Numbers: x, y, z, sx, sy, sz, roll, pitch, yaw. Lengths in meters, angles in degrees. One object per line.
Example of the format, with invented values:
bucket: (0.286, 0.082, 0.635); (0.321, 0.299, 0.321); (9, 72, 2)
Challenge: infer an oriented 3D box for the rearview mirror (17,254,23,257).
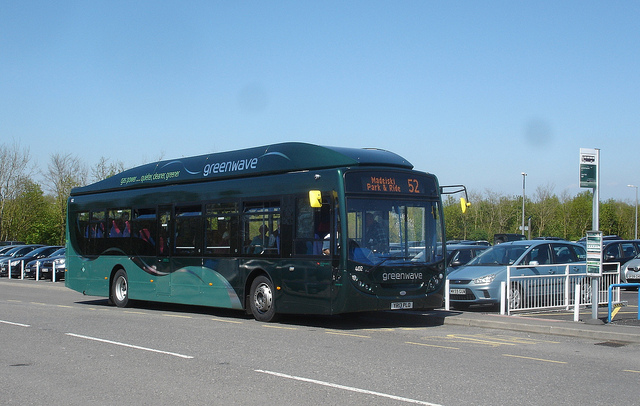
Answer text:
rearview mirror: (-22.566, 3.946, 41.172); (0.245, 0.126, 0.246); (12, 21, 35)

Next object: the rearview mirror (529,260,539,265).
rearview mirror: (6.981, 1.924, 17.880); (0.264, 0.134, 0.466); (-2, -1, 19)

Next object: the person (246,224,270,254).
person: (-1.749, 1.039, 15.747); (0.764, 0.646, 0.156); (-2, -1, 44)

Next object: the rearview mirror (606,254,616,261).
rearview mirror: (14.061, 2.615, 26.437); (0.297, 0.136, 0.425); (1, 5, 13)

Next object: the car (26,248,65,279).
car: (-18.329, 3.983, 36.041); (2.832, 1.361, 1.687); (1, -1, 21)

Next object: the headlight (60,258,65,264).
headlight: (-15.923, 3.567, 33.822); (0.339, 0.343, 0.303); (-1, -1, -38)

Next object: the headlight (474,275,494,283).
headlight: (5.243, 2.407, 17.463); (0.598, 0.228, 0.079); (-2, -1, 8)

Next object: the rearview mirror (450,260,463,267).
rearview mirror: (4.752, 2.099, 19.138); (0.254, 0.140, 0.323); (1, -1, -36)

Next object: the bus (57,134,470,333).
bus: (-3.305, 0.975, 18.688); (15.069, 4.244, 3.252); (-2, -1, 36)

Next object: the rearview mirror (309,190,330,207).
rearview mirror: (-0.011, -0.126, 14.124); (0.436, 0.351, 0.057); (2, -7, -33)

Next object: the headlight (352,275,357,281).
headlight: (0.885, 1.912, 14.065); (0.117, 0.118, 0.038); (31, 3, 25)

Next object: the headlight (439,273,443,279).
headlight: (3.348, 2.029, 15.157); (0.099, 0.101, 0.101); (-1, -4, -31)
